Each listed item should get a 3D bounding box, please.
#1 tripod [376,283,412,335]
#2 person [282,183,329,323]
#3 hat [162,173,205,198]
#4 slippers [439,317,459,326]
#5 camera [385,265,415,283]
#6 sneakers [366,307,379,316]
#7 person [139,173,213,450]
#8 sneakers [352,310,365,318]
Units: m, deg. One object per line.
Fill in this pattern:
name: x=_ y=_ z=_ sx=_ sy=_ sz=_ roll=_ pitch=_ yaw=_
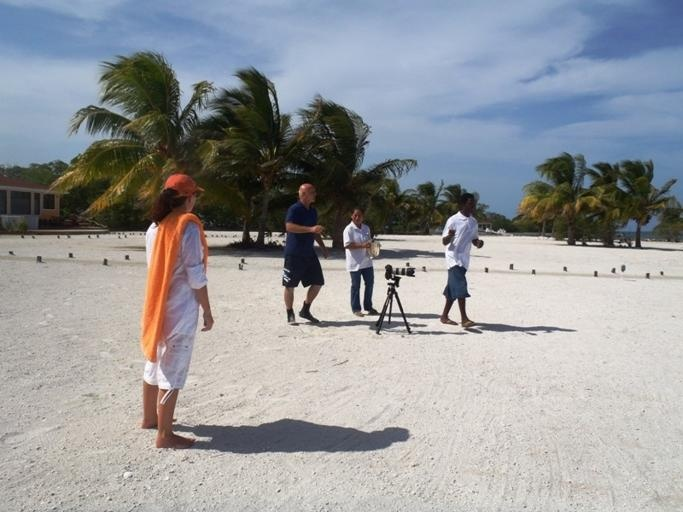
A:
tripod: x=0.763 y=0.820 z=7.907 sx=0.673 sy=1.010 sz=0.638 roll=0 pitch=-5 yaw=0
person: x=-0.611 y=0.016 z=8.022 sx=0.687 sy=2.260 sz=1.333 roll=0 pitch=11 yaw=-2
hat: x=-1.369 y=-0.639 z=4.571 sx=0.276 sy=0.215 sz=0.385 roll=20 pitch=17 yaw=38
slippers: x=1.717 y=1.057 z=8.194 sx=0.300 sy=0.144 sz=0.102 roll=0 pitch=3 yaw=-7
camera: x=0.885 y=0.261 z=7.703 sx=0.446 sy=0.278 sz=0.262 roll=-1 pitch=0 yaw=10
sneakers: x=0.516 y=0.957 z=8.755 sx=0.264 sy=0.129 sz=0.098 roll=-2 pitch=5 yaw=4
person: x=-1.453 y=0.469 z=4.395 sx=0.638 sy=2.273 sz=0.604 roll=-5 pitch=13 yaw=-26
sneakers: x=0.298 y=0.986 z=8.704 sx=0.093 sy=0.088 sz=0.180 roll=0 pitch=-1 yaw=-36
